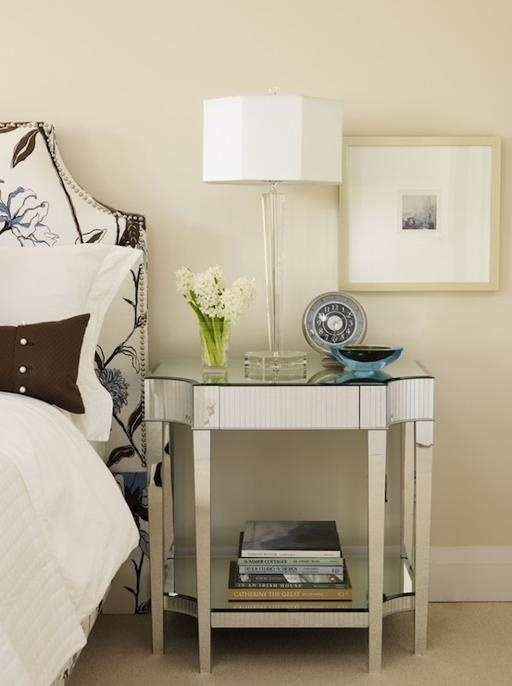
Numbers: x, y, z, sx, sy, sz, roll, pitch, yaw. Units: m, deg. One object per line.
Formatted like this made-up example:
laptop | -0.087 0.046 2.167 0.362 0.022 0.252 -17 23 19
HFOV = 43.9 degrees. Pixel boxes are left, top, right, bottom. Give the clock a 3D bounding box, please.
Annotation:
clock | 0.250 -0.072 1.974 0.198 0.222 0.031 -2 29 4

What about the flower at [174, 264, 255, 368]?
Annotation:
flower | -0.126 -0.095 1.945 0.255 0.341 0.265 -4 8 -26

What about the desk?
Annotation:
desk | 0.099 0.446 2.051 1.071 1.087 0.775 0 2 0

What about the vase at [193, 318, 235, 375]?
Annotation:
vase | -0.118 0.003 1.836 0.126 0.223 0.137 0 3 -1

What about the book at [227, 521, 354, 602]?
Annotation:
book | 0.094 0.627 1.852 0.340 0.132 0.272 0 4 0

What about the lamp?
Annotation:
lamp | 0.023 -0.313 1.835 0.324 0.804 0.351 -4 6 -37

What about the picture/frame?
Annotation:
picture/frame | 0.541 -0.448 2.084 0.505 0.523 0.022 0 4 -1
